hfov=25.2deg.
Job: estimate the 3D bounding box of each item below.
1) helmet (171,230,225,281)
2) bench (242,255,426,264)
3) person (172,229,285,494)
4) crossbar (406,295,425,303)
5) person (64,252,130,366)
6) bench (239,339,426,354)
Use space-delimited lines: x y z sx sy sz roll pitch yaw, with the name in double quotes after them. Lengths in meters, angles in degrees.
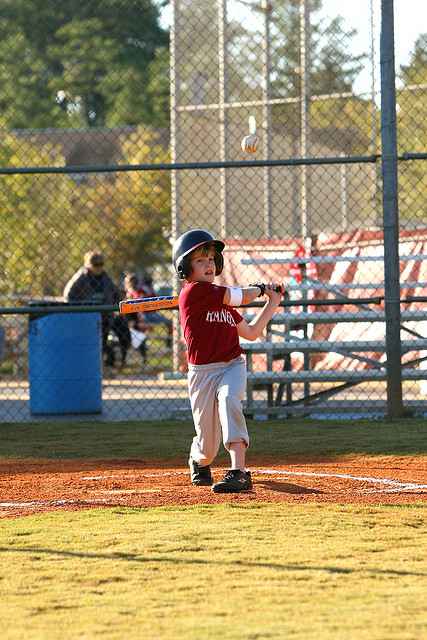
-0.075 -0.291 4.274 0.206 0.190 0.232 -10 -1 -20 "helmet"
1.099 -0.545 8.588 1.602 0.078 1.181 -1 1 2 "bench"
0.037 0.169 4.207 0.474 1.138 0.475 -1 2 13 "person"
1.337 -0.130 6.261 0.115 0.035 0.415 -1 1 12 "crossbar"
-1.303 -0.017 10.421 0.927 1.489 0.741 0 -10 -5 "person"
0.870 0.192 6.791 1.333 0.088 0.408 -1 1 4 "bench"
